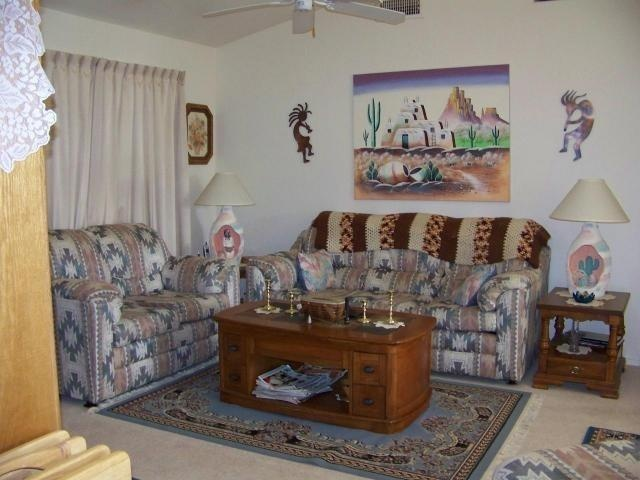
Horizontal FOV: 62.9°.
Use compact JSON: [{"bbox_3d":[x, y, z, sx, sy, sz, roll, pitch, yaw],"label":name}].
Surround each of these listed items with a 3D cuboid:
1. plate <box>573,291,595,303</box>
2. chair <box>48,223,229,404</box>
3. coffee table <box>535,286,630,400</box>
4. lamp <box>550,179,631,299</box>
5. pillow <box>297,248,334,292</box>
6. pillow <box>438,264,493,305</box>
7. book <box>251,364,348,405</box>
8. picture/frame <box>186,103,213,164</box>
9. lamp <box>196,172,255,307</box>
[{"bbox_3d":[1.923,0.422,3.807,0.094,0.058,0.104,1,-8,12],"label":"plate"},{"bbox_3d":[-1.468,0.494,4.118,0.909,1.050,1.600,7,7,20],"label":"chair"},{"bbox_3d":[1.933,0.732,3.952,0.607,0.654,0.790,1,4,26],"label":"coffee table"},{"bbox_3d":[1.985,0.001,3.858,0.452,0.880,0.301,-2,9,-9],"label":"lamp"},{"bbox_3d":[-0.044,0.292,4.579,0.180,0.372,0.507,-22,-9,31],"label":"pillow"},{"bbox_3d":[1.158,0.339,4.099,0.414,0.286,0.533,1,8,11],"label":"pillow"},{"bbox_3d":[-0.148,0.939,3.369,0.308,0.083,0.305,1,1,26],"label":"book"},{"bbox_3d":[-1.309,-1.142,5.569,0.052,0.714,0.660,2,6,23],"label":"picture/frame"},{"bbox_3d":[-0.920,0.000,5.124,0.558,1.214,0.537,-1,5,11],"label":"lamp"}]
